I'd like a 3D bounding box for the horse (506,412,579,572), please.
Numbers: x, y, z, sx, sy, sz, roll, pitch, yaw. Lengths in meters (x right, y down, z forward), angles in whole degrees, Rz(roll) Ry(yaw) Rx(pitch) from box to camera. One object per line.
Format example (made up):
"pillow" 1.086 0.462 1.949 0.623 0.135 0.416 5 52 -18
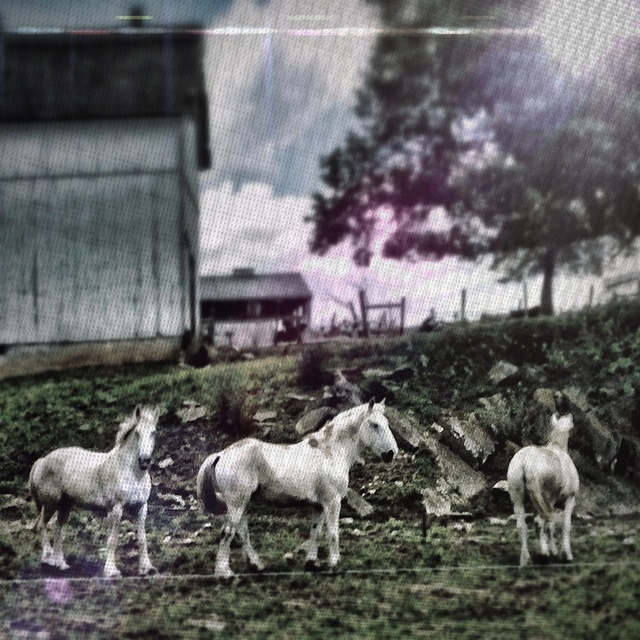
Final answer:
"horse" 2.003 1.505 7.165 0.375 1.381 1.616 -3 -2 28

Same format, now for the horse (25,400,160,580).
"horse" -1.712 1.319 6.411 1.141 1.347 0.399 -2 -1 17
